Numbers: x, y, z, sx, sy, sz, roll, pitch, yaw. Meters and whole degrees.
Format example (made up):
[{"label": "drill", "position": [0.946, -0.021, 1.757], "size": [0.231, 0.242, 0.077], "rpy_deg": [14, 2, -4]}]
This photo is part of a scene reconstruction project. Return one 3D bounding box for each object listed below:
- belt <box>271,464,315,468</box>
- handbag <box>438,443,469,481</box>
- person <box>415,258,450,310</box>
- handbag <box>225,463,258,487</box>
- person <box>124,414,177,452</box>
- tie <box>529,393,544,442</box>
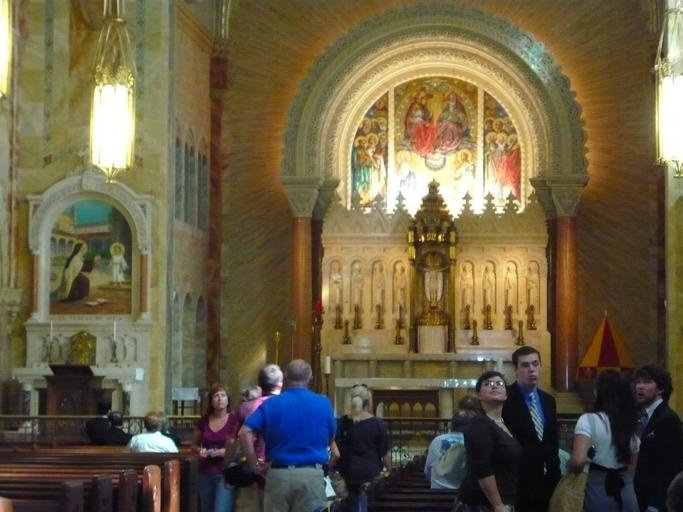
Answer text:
[{"label": "belt", "position": [-0.574, 2.513, 14.441], "size": [0.529, 0.052, 0.098], "rpy_deg": [-1, -10, -7]}, {"label": "handbag", "position": [1.363, 2.552, 14.892], "size": [0.388, 0.474, 0.208], "rpy_deg": [-4, -10, 14]}, {"label": "person", "position": [2.030, 0.591, 26.391], "size": [0.625, 1.164, 0.238], "rpy_deg": [-2, -9, 4]}, {"label": "handbag", "position": [-1.213, 2.638, 14.613], "size": [0.413, 0.280, 0.252], "rpy_deg": [-1, -10, -6]}, {"label": "person", "position": [-2.711, 2.515, 17.100], "size": [0.793, 0.585, 0.390], "rpy_deg": [5, -19, -29]}, {"label": "tie", "position": [2.369, 1.915, 14.564], "size": [0.165, 0.599, 0.065], "rpy_deg": [4, -11, -30]}]
